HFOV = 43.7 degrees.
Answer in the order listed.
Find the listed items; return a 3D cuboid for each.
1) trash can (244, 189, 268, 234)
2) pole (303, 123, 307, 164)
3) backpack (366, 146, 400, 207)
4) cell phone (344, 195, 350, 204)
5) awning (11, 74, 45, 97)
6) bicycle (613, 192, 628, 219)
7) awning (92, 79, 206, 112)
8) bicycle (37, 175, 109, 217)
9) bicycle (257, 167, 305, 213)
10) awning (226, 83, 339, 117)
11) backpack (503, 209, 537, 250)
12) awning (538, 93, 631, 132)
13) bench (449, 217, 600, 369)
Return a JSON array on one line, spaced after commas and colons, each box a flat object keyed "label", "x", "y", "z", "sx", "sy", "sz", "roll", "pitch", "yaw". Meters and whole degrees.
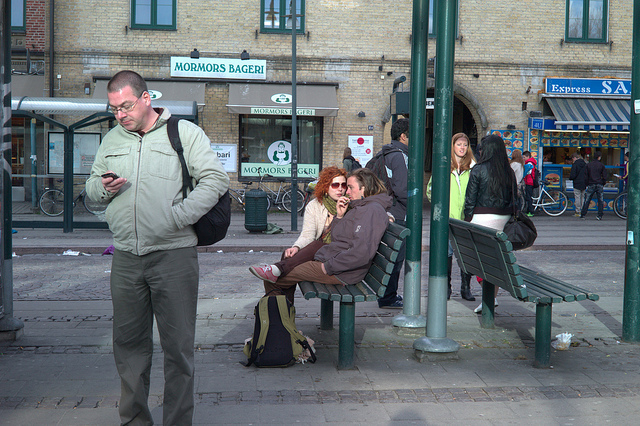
[{"label": "trash can", "x": -1.590, "y": -0.032, "z": 19.480, "sx": 0.654, "sy": 1.110, "sz": 0.644, "roll": -3, "pitch": 4, "yaw": -41}, {"label": "pole", "x": -0.508, "y": -2.263, "z": 25.847, "sx": 0.124, "sy": 1.253, "sz": 0.205, "roll": 0, "pitch": 10, "yaw": -6}, {"label": "backpack", "x": 1.132, "y": -0.590, "z": 12.290, "sx": 0.425, "sy": 0.815, "sz": 0.549, "roll": -11, "pitch": 10, "yaw": 11}, {"label": "cell phone", "x": 0.348, "y": -0.175, "z": 10.657, "sx": 0.102, "sy": 0.036, "sz": 0.082, "roll": -36, "pitch": 39, "yaw": 8}, {"label": "awning", "x": -9.461, "y": -4.131, "z": 25.828, "sx": 1.066, "sy": 0.652, "sz": 0.522, "roll": 1, "pitch": 10, "yaw": -2}, {"label": "bicycle", "x": 9.113, "y": -0.202, "z": 24.338, "sx": 0.762, "sy": 0.733, "sz": 0.129, "roll": 4, "pitch": 10, "yaw": -14}, {"label": "awning", "x": -5.197, "y": -3.370, "z": 24.597, "sx": 2.853, "sy": 1.248, "sz": 1.258, "roll": 0, "pitch": 28, "yaw": -2}, {"label": "bicycle", "x": -5.244, "y": -0.315, "z": 16.726, "sx": 1.762, "sy": 1.079, "sz": 0.888, "roll": 0, "pitch": 6, "yaw": -8}, {"label": "bicycle", "x": -1.159, "y": -0.555, "z": 24.976, "sx": 1.607, "sy": 1.011, "sz": 0.800, "roll": 18, "pitch": 3, "yaw": 11}, {"label": "awning", "x": -1.187, "y": -3.854, "z": 24.957, "sx": 3.523, "sy": 1.507, "sz": 0.922, "roll": -2, "pitch": 0, "yaw": -1}, {"label": "backpack", "x": 2.926, "y": 0.228, "z": 11.570, "sx": 0.338, "sy": 0.613, "sz": 0.610, "roll": -3, "pitch": 3, "yaw": 26}, {"label": "awning", "x": 8.438, "y": -3.202, "z": 25.682, "sx": 2.453, "sy": 0.739, "sz": 1.072, "roll": 0, "pitch": 36, "yaw": -5}, {"label": "bench", "x": 2.614, "y": 0.979, "z": 11.135, "sx": 1.320, "sy": 1.628, "sz": 3.156, "roll": 0, "pitch": 3, "yaw": -5}]
